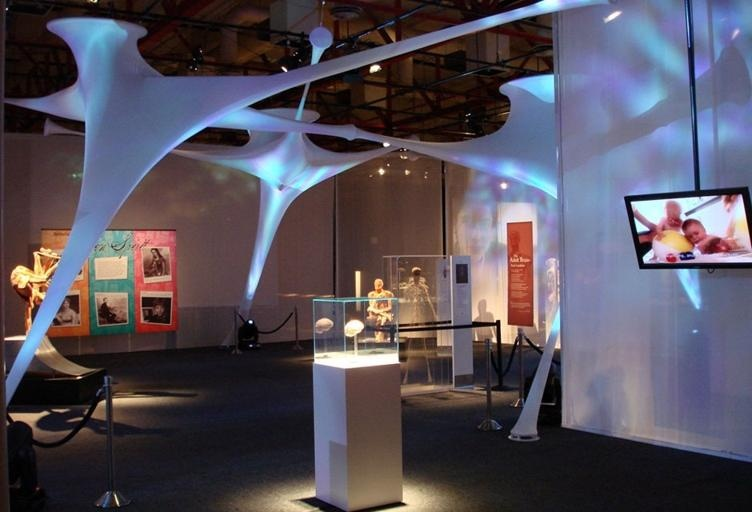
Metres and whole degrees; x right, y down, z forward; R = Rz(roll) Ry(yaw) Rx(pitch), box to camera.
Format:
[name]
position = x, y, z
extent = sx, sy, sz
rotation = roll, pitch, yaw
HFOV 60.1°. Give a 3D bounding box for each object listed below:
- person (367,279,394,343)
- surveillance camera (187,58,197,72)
[person]
position = 0.063, 0.660, 7.784
extent = 0.409, 0.881, 0.296
rotation = 1, -11, -7
[surveillance camera]
position = -4.121, -4.291, 14.601
extent = 0.231, 0.245, 0.434
rotation = 1, 6, -5
